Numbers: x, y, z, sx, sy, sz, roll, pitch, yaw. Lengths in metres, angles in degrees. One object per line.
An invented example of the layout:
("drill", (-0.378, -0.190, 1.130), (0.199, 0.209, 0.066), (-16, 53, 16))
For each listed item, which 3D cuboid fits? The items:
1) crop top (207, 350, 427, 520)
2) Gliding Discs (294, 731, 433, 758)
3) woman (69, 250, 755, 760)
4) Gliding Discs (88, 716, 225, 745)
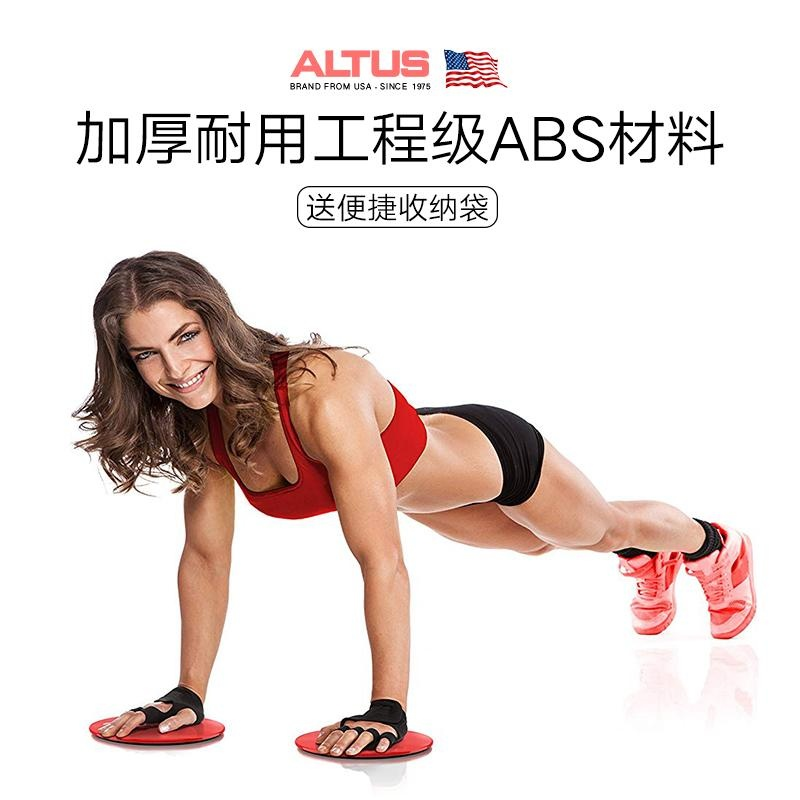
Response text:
("crop top", (-0.272, 0.119, 2.710), (0.597, 0.274, 0.589), (-31, 11, -5))
("Gliding Discs", (-0.084, 0.859, 2.367), (0.346, 0.047, 0.211), (2, -3, -4))
("woman", (0.233, 0.304, 3.132), (2.338, 0.939, 1.111), (11, -19, -36))
("Gliding Discs", (-0.657, 0.892, 2.580), (0.362, 0.035, 0.255), (2, -3, -10))
